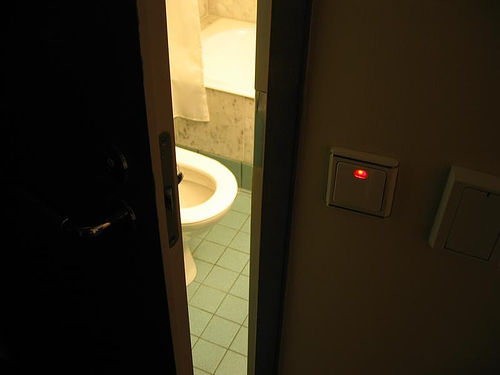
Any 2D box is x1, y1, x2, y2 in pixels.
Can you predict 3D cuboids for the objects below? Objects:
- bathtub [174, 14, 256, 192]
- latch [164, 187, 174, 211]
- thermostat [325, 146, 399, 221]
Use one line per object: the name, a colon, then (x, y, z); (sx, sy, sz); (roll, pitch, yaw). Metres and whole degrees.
bathtub: (-0.144, -0.615, 3.073); (0.904, 0.681, 1.042); (11, 45, 12)
latch: (-0.183, 0.023, 0.917); (0.006, 0.065, 0.025); (25, 40, 26)
thermostat: (0.194, -0.006, 0.719); (0.123, 0.117, 0.014); (15, 24, 15)
